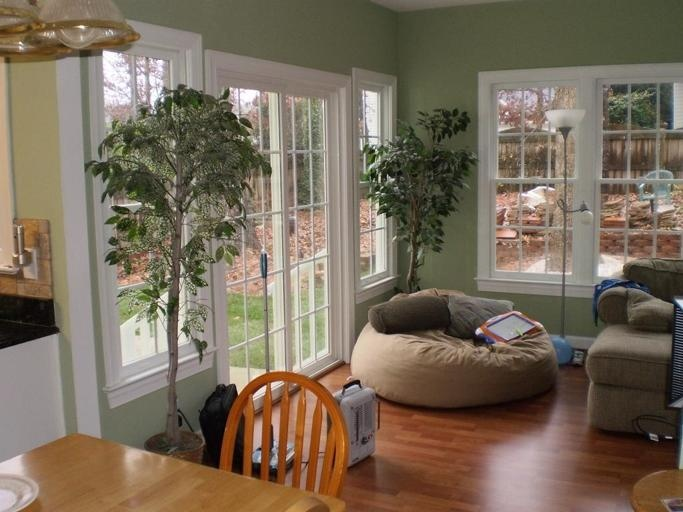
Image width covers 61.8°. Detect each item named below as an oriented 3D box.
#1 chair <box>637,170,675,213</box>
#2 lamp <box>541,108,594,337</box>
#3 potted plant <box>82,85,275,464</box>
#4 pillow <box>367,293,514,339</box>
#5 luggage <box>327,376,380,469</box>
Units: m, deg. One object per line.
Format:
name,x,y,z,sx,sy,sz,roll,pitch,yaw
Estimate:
chair,3.031,-0.615,5.517,0.358,0.516,0.397,3,13,28
lamp,2.158,-0.259,5.503,0.446,2.234,0.757,3,11,21
potted plant,-0.927,0.103,3.319,0.933,2.083,0.768,-9,13,-35
pillow,0.821,0.519,5.054,0.697,0.208,0.615,10,1,-7
luggage,0.062,1.095,3.720,0.290,0.523,0.321,6,8,43
